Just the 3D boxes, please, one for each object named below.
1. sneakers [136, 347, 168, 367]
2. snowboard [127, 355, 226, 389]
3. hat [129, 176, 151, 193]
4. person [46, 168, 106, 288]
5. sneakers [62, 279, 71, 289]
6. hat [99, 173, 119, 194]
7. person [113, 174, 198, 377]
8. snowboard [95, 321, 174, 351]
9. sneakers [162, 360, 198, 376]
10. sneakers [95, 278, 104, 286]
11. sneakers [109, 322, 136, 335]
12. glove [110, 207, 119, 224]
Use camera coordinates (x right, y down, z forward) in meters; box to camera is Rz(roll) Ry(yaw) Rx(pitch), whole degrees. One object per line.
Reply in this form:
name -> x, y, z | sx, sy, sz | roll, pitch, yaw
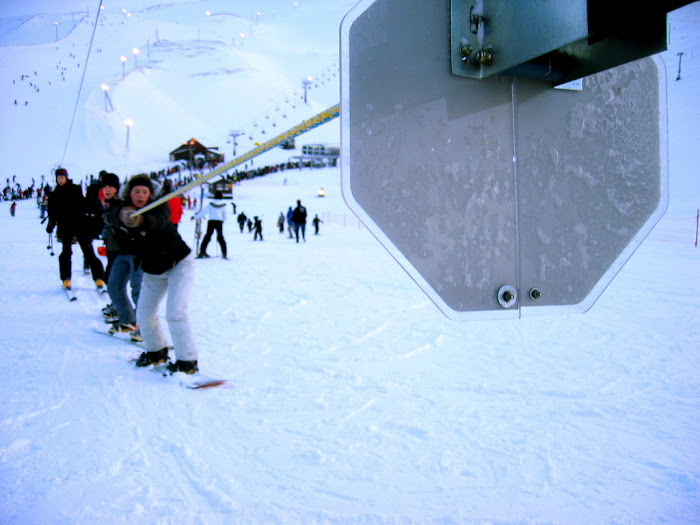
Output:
sneakers -> -1.746, 0.848, 5.733 | 0.334, 0.157, 0.130 | -1, 8, -1
snowboard -> -1.453, 0.869, 5.378 | 0.845, 0.164, 0.262 | 13, 24, 28
hat -> -1.777, -0.680, 5.419 | 0.196, 0.144, 0.117 | -2, 9, -20
person -> -3.927, -0.461, 9.092 | 0.707, 1.774, 1.069 | -3, 9, -27
sneakers -> -4.016, 0.311, 9.111 | 0.118, 0.146, 0.120 | -4, -4, 43
hat -> -2.735, -0.905, 7.224 | 0.173, 0.223, 0.227 | 9, 5, -7
person -> -1.626, 0.113, 5.451 | 0.660, 1.722, 0.775 | -6, 11, -41
snowboard -> -2.103, 0.722, 6.225 | 0.471, 0.198, 0.149 | 24, 19, 3
sneakers -> -1.429, 0.900, 5.448 | 0.299, 0.141, 0.116 | -2, 2, -2
sneakers -> -3.568, 0.292, 9.054 | 0.132, 0.107, 0.139 | 5, 10, 13
sneakers -> -2.437, 0.707, 6.810 | 0.273, 0.137, 0.115 | 5, 4, 0
glove -> -2.072, -0.422, 5.679 | 0.115, 0.124, 0.120 | 2, 20, -7
